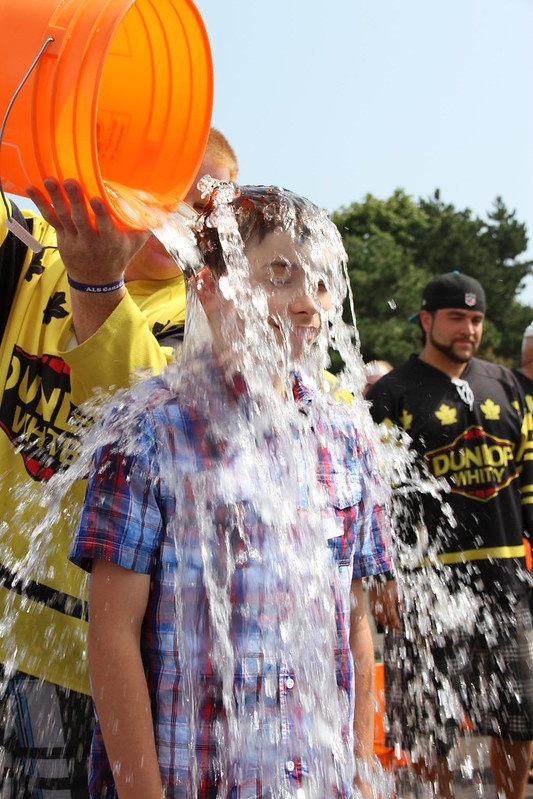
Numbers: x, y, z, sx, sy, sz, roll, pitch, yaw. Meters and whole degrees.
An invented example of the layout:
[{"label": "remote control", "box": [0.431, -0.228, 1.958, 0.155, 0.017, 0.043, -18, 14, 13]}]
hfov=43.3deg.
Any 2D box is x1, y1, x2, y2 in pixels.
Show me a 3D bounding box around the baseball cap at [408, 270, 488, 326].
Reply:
[{"label": "baseball cap", "box": [0.955, -0.560, 3.607, 0.327, 0.257, 0.489, 0, -3, -11]}]
